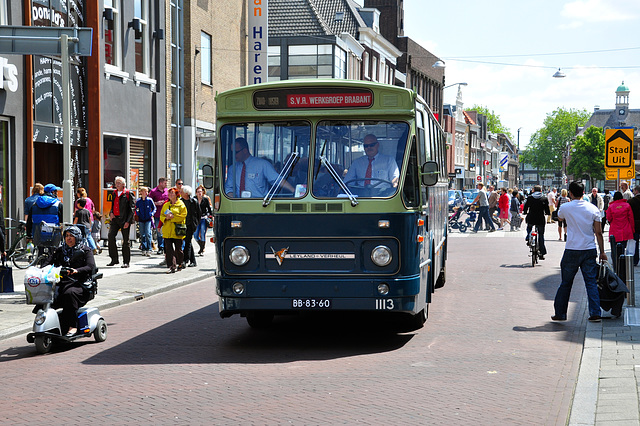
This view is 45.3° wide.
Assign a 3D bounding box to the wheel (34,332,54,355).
[{"bbox_3d":[-4.178,1.965,11.712,0.165,0.311,0.369,3,6,29],"label":"wheel"}]

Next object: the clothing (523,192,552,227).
[{"bbox_3d":[6.300,-0.126,21.976,0.940,1.297,0.836,1,-11,26],"label":"clothing"}]
